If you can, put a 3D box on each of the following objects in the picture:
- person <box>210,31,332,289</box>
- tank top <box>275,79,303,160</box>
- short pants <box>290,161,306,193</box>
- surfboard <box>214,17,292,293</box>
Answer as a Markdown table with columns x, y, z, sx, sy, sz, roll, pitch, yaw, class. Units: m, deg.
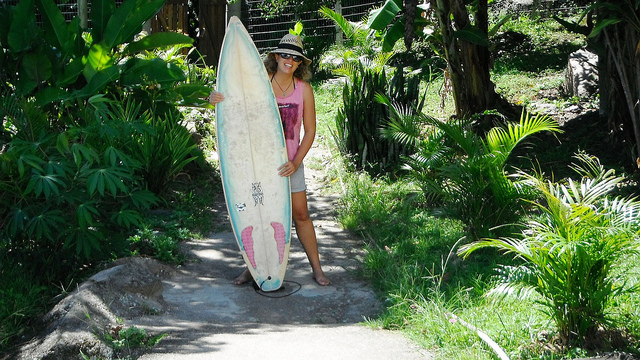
| x | y | z | sx | sy | sz | roll | pitch | yaw | class |
| --- | --- | --- | --- | --- | --- | --- | --- | --- | --- |
| -0.737 | -0.416 | 6.075 | 0.725 | 0.338 | 3.636 | -12 | 53 | -1 | person |
| -0.329 | -0.506 | 6.124 | 0.312 | 0.114 | 1.223 | -4 | 26 | -5 | tank top |
| -0.215 | -0.054 | 6.077 | 0.146 | 0.322 | 0.275 | 4 | 16 | 25 | short pants |
| -0.708 | -0.249 | 6.248 | 0.687 | 3.036 | 0.262 | -11 | 2 | 3 | surfboard |
